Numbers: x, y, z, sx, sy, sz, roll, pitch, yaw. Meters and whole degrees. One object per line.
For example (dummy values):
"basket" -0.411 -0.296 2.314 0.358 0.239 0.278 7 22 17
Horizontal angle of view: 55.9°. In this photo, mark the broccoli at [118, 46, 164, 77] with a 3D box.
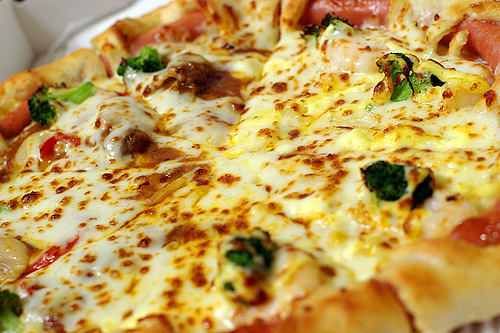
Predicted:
"broccoli" -0.815 -0.810 3.588 0.282 0.091 0.262 -2 45 36

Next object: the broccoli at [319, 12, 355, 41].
"broccoli" 0.585 -0.943 3.207 0.265 0.071 0.211 -3 53 -11

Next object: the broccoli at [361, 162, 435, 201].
"broccoli" 0.692 0.076 2.192 0.336 0.124 0.159 3 53 11

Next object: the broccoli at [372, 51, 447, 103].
"broccoli" 0.915 -0.512 2.736 0.301 0.114 0.322 -45 69 2

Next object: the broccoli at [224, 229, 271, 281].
"broccoli" -0.019 0.374 2.039 0.170 0.047 0.212 -22 49 -35

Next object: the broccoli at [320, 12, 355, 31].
"broccoli" 0.607 -1.008 3.285 0.182 0.162 0.082 23 16 11

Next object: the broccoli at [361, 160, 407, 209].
"broccoli" 0.620 0.077 2.161 0.205 0.186 0.073 -16 6 36
